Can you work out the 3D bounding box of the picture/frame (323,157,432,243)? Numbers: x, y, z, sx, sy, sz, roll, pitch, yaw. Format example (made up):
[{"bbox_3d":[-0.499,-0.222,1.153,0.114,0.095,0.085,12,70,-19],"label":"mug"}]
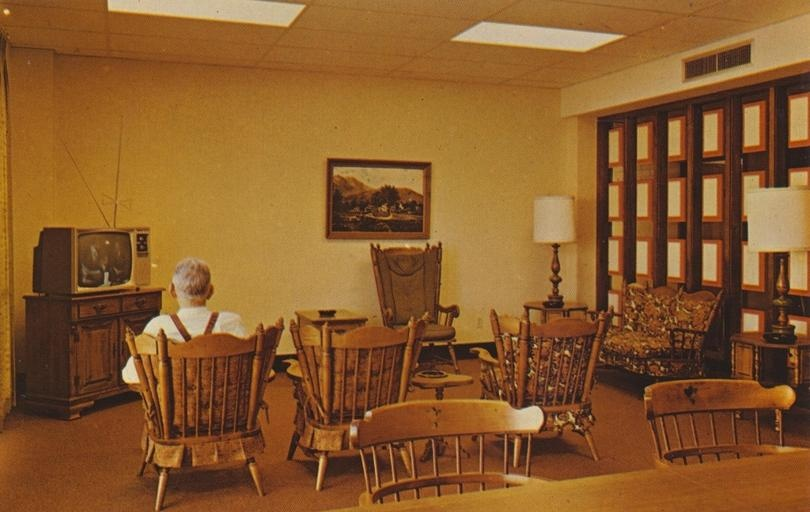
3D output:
[{"bbox_3d":[-0.394,-0.703,8.285,1.261,0.781,0.048,1,-2,-19],"label":"picture/frame"}]

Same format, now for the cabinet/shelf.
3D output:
[{"bbox_3d":[-2.881,0.909,6.257,0.871,1.194,1.420,0,0,30],"label":"cabinet/shelf"}]

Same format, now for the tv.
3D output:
[{"bbox_3d":[-3.096,0.048,6.776,0.745,0.642,1.028,0,1,32],"label":"tv"}]

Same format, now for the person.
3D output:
[{"bbox_3d":[-1.638,0.486,5.194,1.129,0.830,0.577,-4,10,-26],"label":"person"}]
